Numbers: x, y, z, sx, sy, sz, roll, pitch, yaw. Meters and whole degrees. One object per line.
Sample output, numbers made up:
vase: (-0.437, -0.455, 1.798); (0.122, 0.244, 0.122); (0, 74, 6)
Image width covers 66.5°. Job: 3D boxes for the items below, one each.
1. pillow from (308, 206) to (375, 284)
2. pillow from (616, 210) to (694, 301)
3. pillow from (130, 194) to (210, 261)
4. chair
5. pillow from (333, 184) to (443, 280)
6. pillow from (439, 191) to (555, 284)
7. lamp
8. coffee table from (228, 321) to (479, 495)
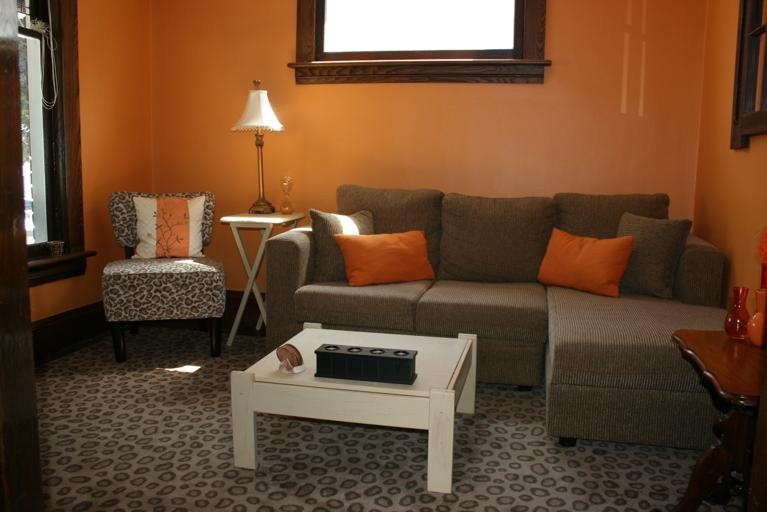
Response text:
pillow: (-0.305, -0.081, 4.358); (0.226, 0.617, 0.670); (15, 14, 38)
pillow: (1.741, 0.005, 3.769); (0.502, 0.496, 0.216); (11, -3, 16)
pillow: (-1.654, -0.227, 4.528); (0.545, 0.479, 0.190); (-2, 5, -29)
chair: (-1.600, 0.085, 4.316); (0.934, 1.134, 0.952); (4, 8, 3)
pillow: (0.046, -0.149, 4.231); (0.657, 0.639, 0.198); (1, -4, 5)
pillow: (0.823, -0.107, 4.203); (0.600, 0.456, 0.239); (2, 17, 7)
lamp: (-0.998, -0.889, 4.706); (0.393, 1.026, 0.525); (-2, 17, -9)
coffee table: (-0.141, 0.656, 2.969); (0.914, 0.412, 0.868); (2, 7, 15)
